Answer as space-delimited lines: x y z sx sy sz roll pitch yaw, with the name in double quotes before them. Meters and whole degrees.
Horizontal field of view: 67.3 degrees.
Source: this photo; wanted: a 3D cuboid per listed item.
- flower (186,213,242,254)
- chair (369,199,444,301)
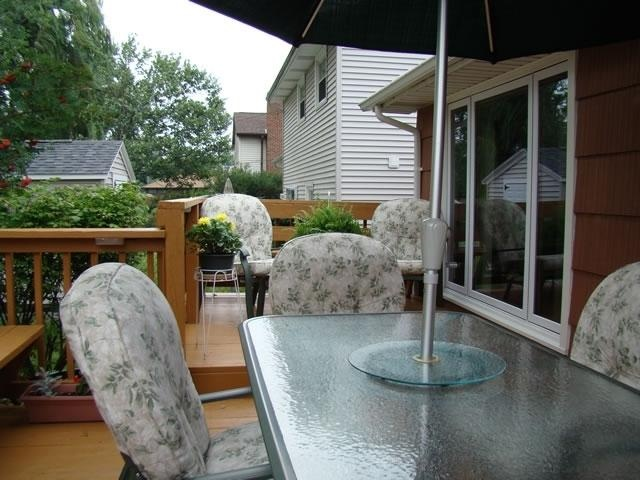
"flower" -0.795 -0.066 3.627 0.268 0.232 0.332 -9 -3 26
"chair" 0.873 0.016 4.951 0.721 1.091 0.882 -1 5 1
